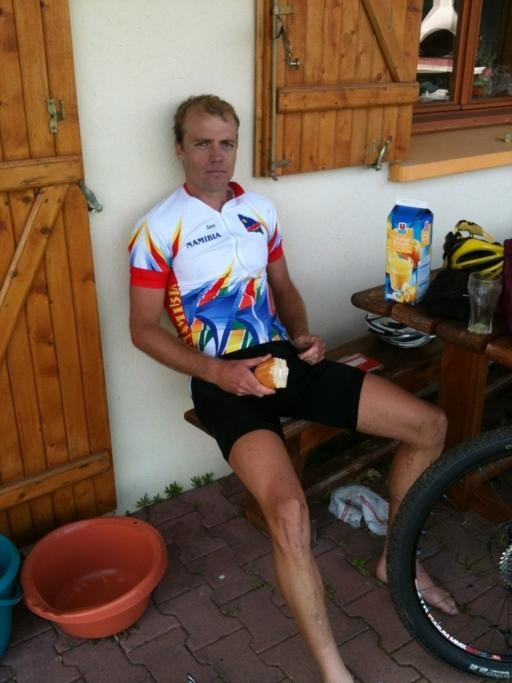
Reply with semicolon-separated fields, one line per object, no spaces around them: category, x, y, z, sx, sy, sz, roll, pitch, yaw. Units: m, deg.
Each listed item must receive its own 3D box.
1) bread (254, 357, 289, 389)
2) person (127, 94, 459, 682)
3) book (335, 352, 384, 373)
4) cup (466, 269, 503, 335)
bread;0.033;0.095;1.737;0.130;0.095;0.066;20;29;41
person;0.056;0.041;1.928;0.737;1.626;1.223;-15;26;-32
book;0.439;0.088;2.397;0.099;0.024;0.098;20;27;38
cup;0.757;-0.132;1.942;0.097;0.183;0.165;8;23;20
